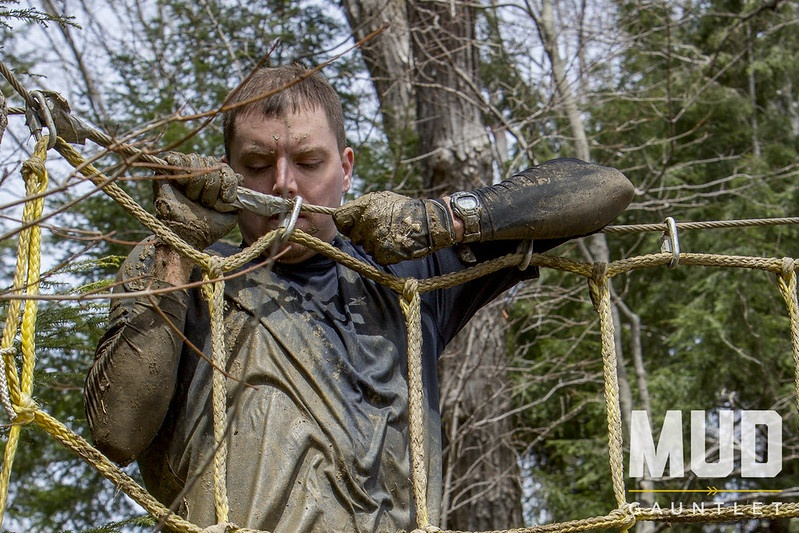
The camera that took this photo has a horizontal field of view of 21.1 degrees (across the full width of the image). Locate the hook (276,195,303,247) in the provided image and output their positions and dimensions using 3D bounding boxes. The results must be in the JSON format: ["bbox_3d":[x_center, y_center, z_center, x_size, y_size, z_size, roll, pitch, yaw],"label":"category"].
[{"bbox_3d":[-1.071,-0.464,21.713,0.113,0.403,0.291,37,-38,-24],"label":"hook"}]

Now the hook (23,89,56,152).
[{"bbox_3d":[-3.588,-1.483,21.360,0.281,0.606,0.261,-9,-8,0],"label":"hook"}]
